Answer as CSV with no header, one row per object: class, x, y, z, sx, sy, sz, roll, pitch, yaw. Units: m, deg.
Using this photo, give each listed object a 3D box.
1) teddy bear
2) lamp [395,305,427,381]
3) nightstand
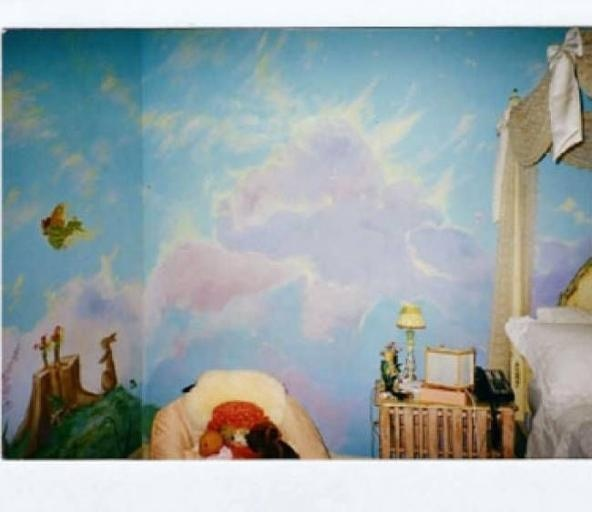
teddy bear,-0.403,1.485,6.146,0.588,0.496,0.257,26,-2,-3
lamp,0.942,0.726,6.032,0.247,0.626,0.451,2,14,9
nightstand,1.159,1.066,5.678,0.939,0.536,0.549,0,11,8
